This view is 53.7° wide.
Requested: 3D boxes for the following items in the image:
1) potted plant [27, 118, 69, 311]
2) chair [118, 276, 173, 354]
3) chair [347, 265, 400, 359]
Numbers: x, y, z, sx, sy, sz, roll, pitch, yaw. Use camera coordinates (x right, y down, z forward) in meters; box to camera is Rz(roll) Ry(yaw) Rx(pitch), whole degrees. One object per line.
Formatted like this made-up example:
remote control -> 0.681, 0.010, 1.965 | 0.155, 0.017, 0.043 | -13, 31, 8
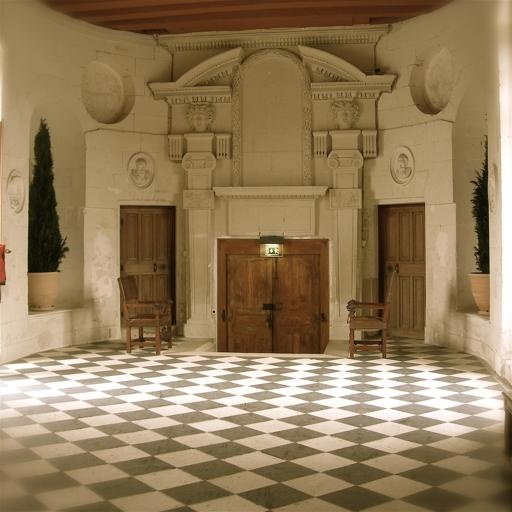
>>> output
potted plant -> -3.489, -0.670, 8.358 | 0.529, 3.130, 0.382 | 1, -2, -25
chair -> -1.718, 0.911, 8.078 | 0.770, 1.207, 0.845 | -3, -3, 20
chair -> 1.717, 0.866, 7.750 | 0.921, 1.323, 0.916 | 6, -6, -44
